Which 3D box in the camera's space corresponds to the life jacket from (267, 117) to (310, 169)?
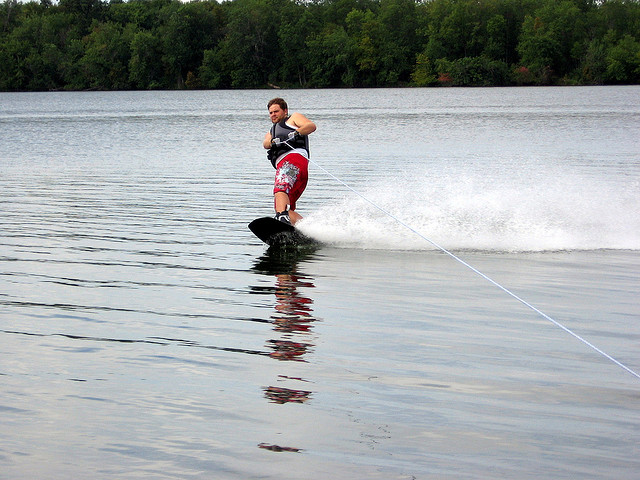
[{"bbox_3d":[-0.430,-1.311,11.371,0.572,0.646,0.316,2,15,9],"label":"life jacket"}]
